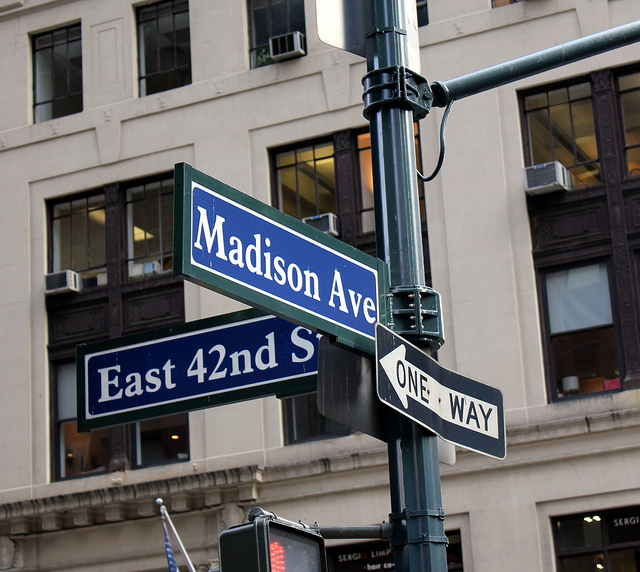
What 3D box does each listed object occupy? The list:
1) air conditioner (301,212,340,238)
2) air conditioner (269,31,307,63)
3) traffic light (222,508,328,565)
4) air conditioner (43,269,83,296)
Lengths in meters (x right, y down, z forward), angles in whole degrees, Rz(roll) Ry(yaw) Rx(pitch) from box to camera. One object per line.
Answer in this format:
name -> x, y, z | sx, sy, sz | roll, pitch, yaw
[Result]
air conditioner -> 0.064, -1.297, 40.573 | 0.770, 0.545, 0.611 | -4, -16, -13
air conditioner -> -0.691, -5.044, 41.742 | 0.775, 0.523, 0.499 | -9, -16, 5
traffic light -> -0.558, 2.982, 23.577 | 1.215, 0.654, 0.440 | -6, -15, -7
air conditioner -> -5.558, -0.127, 42.940 | 0.838, 0.503, 0.626 | -5, -16, -10
